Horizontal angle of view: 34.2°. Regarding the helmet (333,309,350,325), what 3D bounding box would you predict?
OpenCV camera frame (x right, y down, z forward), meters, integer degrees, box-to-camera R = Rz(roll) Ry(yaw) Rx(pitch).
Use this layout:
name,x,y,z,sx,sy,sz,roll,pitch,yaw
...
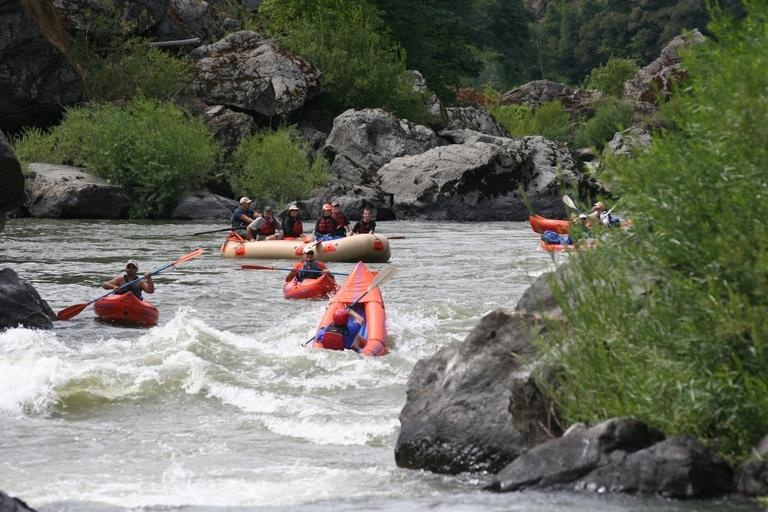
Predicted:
name,x,y,z,sx,sy,sz,roll,pitch,yaw
helmet,-1.000,1.328,28.399,0.272,0.290,0.370,7,38,3

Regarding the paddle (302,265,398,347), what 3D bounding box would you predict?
name,x,y,z,sx,sy,sz,roll,pitch,yaw
paddle,-0.864,1.255,29.778,0.344,2.458,0.121,39,-13,31

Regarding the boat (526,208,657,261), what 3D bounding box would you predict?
name,x,y,z,sx,sy,sz,roll,pitch,yaw
boat,5.239,-0.439,31.599,2.386,0.853,1.713,1,3,6

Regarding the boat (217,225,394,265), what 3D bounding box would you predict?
name,x,y,z,sx,sy,sz,roll,pitch,yaw
boat,-2.237,-0.206,37.435,3.943,0.906,1.802,0,0,24

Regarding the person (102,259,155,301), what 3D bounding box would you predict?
name,x,y,z,sx,sy,sz,roll,pitch,yaw
person,-6.160,0.582,30.352,0.794,0.587,1.274,-1,-11,-10
